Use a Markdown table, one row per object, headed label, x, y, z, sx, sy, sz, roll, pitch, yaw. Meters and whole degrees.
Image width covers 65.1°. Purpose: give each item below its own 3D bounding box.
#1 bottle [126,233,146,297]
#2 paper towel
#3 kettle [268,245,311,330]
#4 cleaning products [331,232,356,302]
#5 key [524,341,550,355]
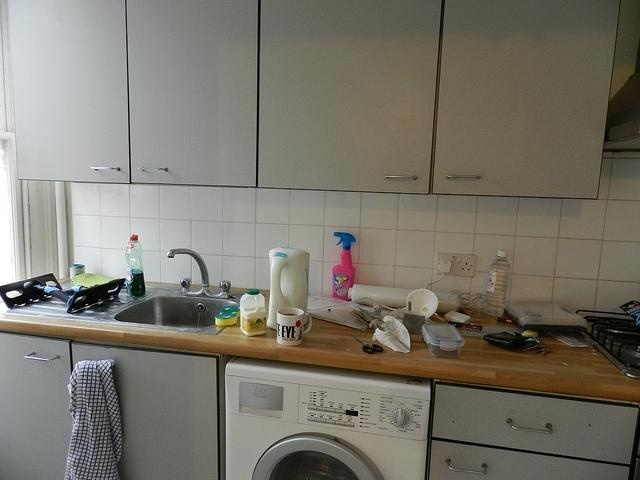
| label | x | y | z | sx | sy | sz | roll | pitch | yaw |
| --- | --- | --- | --- | --- | --- | --- | --- | --- | --- |
| bottle | -0.996 | 0.121 | 2.711 | 0.092 | 0.316 | 0.333 | -1 | 7 | -22 |
| paper towel | 0.415 | 0.257 | 2.538 | 0.481 | 0.125 | 0.306 | 6 | 12 | 24 |
| kettle | -0.132 | 0.214 | 2.321 | 0.169 | 0.350 | 0.200 | 3 | 7 | 15 |
| cleaning products | 0.126 | 0.154 | 2.621 | 0.106 | 0.378 | 0.104 | 2 | 13 | 1 |
| key | 0.924 | 0.452 | 2.134 | 0.073 | 0.032 | 0.056 | -3 | 11 | -20 |
